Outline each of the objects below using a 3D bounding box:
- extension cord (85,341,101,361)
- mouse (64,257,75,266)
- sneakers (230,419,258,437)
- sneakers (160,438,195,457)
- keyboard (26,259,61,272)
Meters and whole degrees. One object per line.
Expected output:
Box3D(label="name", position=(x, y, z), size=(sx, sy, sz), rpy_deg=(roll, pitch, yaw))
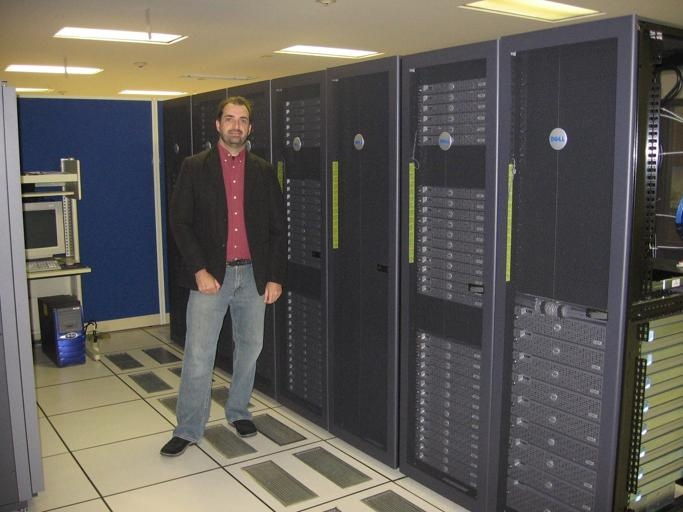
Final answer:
Box3D(label="extension cord", position=(-2.634, 0.994, 5.646), size=(0.138, 0.115, 0.499), rpy_deg=(-5, 11, -26))
Box3D(label="mouse", position=(-2.905, 0.066, 5.679), size=(0.039, 0.071, 0.074), rpy_deg=(-11, -6, 41))
Box3D(label="sneakers", position=(-0.708, 1.277, 3.925), size=(0.080, 0.084, 0.221), rpy_deg=(1, 0, -30))
Box3D(label="sneakers", position=(-1.154, 1.328, 3.671), size=(0.092, 0.080, 0.200), rpy_deg=(3, 1, 20))
Box3D(label="keyboard", position=(-3.043, 0.110, 5.447), size=(0.293, 0.049, 0.468), rpy_deg=(-6, 12, -30))
